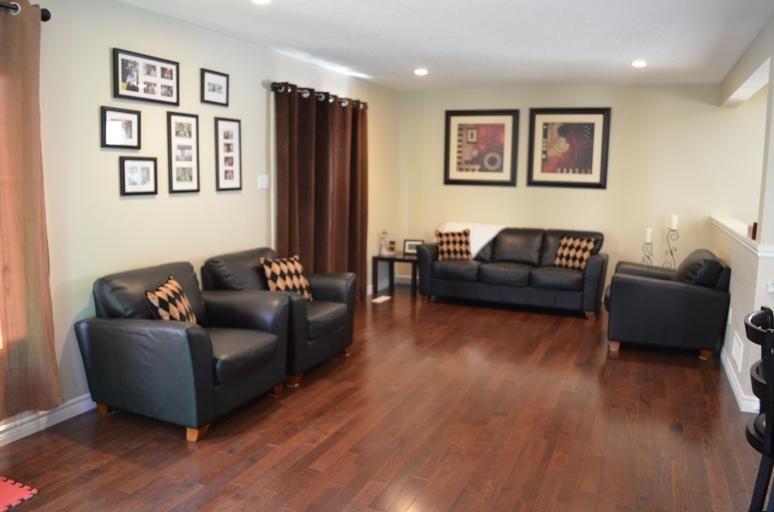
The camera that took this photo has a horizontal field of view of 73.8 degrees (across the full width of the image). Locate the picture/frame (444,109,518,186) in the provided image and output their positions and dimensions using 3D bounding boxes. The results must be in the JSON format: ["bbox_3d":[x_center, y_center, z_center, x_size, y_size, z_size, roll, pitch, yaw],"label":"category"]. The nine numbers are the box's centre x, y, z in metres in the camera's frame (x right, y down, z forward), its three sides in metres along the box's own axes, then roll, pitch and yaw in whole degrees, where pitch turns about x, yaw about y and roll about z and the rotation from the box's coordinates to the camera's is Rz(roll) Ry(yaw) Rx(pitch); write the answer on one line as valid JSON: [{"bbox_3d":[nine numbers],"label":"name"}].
[{"bbox_3d":[1.446,-1.646,7.705,1.109,1.171,0.087,3,5,20],"label":"picture/frame"}]

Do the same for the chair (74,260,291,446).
[{"bbox_3d":[-1.650,0.712,4.325,1.358,1.182,0.980,4,10,18],"label":"chair"}]

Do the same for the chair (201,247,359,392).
[{"bbox_3d":[-0.994,0.511,5.173,1.211,1.030,1.328,2,8,14],"label":"chair"}]

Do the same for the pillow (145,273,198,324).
[{"bbox_3d":[-1.758,0.445,4.243,0.255,0.466,0.508,4,16,-1],"label":"pillow"}]

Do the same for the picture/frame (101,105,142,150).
[{"bbox_3d":[-2.233,-1.060,4.347,0.356,0.370,0.027,6,7,6],"label":"picture/frame"}]

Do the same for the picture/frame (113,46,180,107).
[{"bbox_3d":[-2.108,-1.547,4.463,0.025,0.461,0.641,3,3,34],"label":"picture/frame"}]

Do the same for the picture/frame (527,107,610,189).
[{"bbox_3d":[2.609,-1.548,7.283,1.086,1.138,0.090,4,5,22],"label":"picture/frame"}]

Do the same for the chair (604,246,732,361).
[{"bbox_3d":[3.015,0.468,5.698,1.074,0.967,1.163,1,7,20],"label":"chair"}]

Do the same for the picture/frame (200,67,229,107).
[{"bbox_3d":[-1.680,-1.636,5.066,0.347,0.304,0.031,18,22,25],"label":"picture/frame"}]

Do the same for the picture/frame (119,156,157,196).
[{"bbox_3d":[-2.167,-0.692,4.467,0.029,0.368,0.364,1,3,31],"label":"picture/frame"}]

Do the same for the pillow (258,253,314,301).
[{"bbox_3d":[-0.989,0.206,5.134,0.144,0.454,0.479,-31,-21,36],"label":"pillow"}]

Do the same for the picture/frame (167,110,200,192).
[{"bbox_3d":[-1.906,-0.955,4.823,0.048,0.730,0.350,7,12,31],"label":"picture/frame"}]

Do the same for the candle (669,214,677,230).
[{"bbox_3d":[3.835,-0.450,6.893,0.101,0.210,0.166,8,12,37],"label":"candle"}]

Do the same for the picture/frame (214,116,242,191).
[{"bbox_3d":[-1.615,-1.028,5.246,0.054,0.710,0.351,6,12,29],"label":"picture/frame"}]

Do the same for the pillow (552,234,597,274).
[{"bbox_3d":[2.487,-0.045,6.872,0.497,0.389,0.376,7,12,35],"label":"pillow"}]

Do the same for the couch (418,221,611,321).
[{"bbox_3d":[1.736,0.181,7.085,2.330,1.006,0.786,4,10,19],"label":"couch"}]
